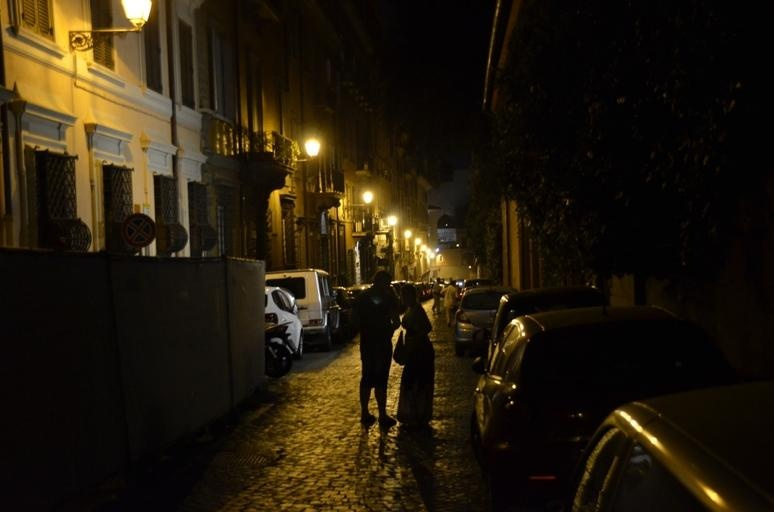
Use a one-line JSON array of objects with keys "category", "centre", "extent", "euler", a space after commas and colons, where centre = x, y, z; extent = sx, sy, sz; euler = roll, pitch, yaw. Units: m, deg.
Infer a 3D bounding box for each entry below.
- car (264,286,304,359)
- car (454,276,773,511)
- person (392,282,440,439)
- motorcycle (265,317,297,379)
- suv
[{"category": "car", "centre": [-2.714, 1.652, 18.219], "extent": [0.944, 1.093, 1.842], "euler": [-1, -1, 10]}, {"category": "car", "centre": [1.749, 1.230, 7.019], "extent": [1.369, 1.439, 2.640], "euler": [-3, 2, 2]}, {"category": "person", "centre": [0.407, 1.543, 10.710], "extent": [0.659, 2.049, 0.883], "euler": [-4, -1, 0]}, {"category": "motorcycle", "centre": [-2.510, 2.184, 15.684], "extent": [0.543, 1.054, 1.026], "euler": [-4, -2, -8]}, {"category": "suv", "centre": [-2.705, 1.752, 22.294], "extent": [2.044, 2.643, 4.270], "euler": [-5, -1, 4]}]
